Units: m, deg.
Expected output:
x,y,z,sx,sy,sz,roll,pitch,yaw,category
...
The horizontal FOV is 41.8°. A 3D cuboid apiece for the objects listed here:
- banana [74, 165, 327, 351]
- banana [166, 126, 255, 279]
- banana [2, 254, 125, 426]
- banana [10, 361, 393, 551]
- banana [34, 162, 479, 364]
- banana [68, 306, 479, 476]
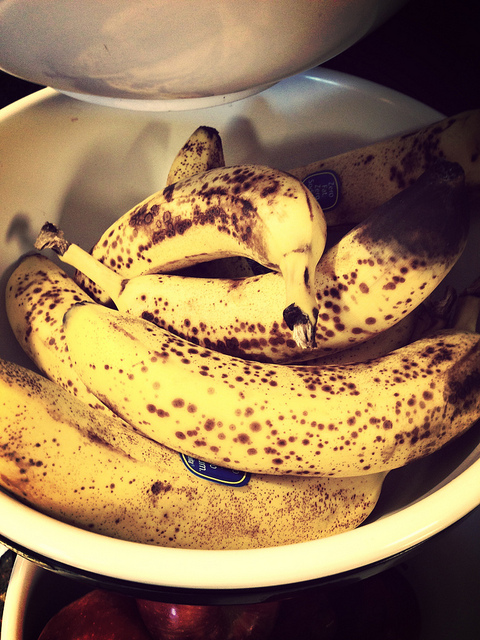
x,y,z,sx,sy,sz,roll,pitch,yaw,category
-0.059,-0.051,0.644,0.161,0.058,0.241,1,21,-2,banana
-0.046,-0.178,0.793,0.072,0.080,0.259,-17,75,33,banana
-0.181,0.023,0.642,0.053,0.060,0.186,-34,67,-23,banana
-0.033,0.121,0.547,0.296,0.099,0.064,16,82,-1,banana
0.030,-0.052,0.638,0.488,0.170,0.124,-7,40,22,banana
0.034,0.061,0.562,0.373,0.104,0.132,-2,51,4,banana
